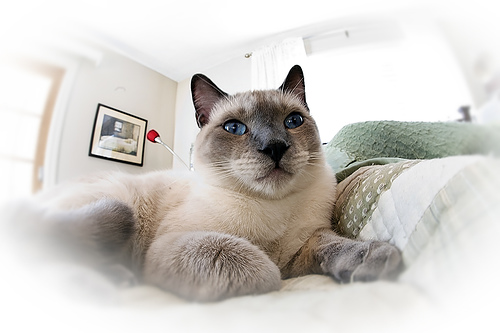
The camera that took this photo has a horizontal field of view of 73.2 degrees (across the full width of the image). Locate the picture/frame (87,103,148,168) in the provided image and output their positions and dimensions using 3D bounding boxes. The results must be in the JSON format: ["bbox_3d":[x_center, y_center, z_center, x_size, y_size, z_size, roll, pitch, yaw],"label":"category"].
[{"bbox_3d":[-0.338,-0.077,0.876,0.004,0.131,0.181,4,-5,23],"label":"picture/frame"}]

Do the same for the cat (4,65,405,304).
[{"bbox_3d":[-0.097,0.017,0.838,0.408,0.379,0.651,6,-5,-34],"label":"cat"}]

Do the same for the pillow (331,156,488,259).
[{"bbox_3d":[0.325,0.082,0.764,0.149,0.187,0.429,0,-3,-8],"label":"pillow"}]
